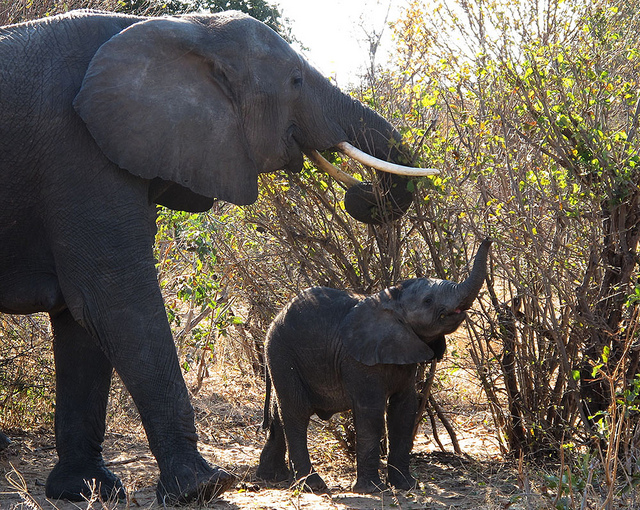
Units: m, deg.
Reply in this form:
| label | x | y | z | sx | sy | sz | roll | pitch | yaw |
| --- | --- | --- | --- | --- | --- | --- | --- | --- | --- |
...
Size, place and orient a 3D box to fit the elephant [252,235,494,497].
| label | x | y | z | sx | sy | sz | roll | pitch | yaw |
| --- | --- | --- | --- | --- | --- | --- | --- | --- | --- |
| elephant | 0.339 | 0.817 | 4.994 | 1.858 | 1.636 | 0.682 | -6 | -4 | 26 |
